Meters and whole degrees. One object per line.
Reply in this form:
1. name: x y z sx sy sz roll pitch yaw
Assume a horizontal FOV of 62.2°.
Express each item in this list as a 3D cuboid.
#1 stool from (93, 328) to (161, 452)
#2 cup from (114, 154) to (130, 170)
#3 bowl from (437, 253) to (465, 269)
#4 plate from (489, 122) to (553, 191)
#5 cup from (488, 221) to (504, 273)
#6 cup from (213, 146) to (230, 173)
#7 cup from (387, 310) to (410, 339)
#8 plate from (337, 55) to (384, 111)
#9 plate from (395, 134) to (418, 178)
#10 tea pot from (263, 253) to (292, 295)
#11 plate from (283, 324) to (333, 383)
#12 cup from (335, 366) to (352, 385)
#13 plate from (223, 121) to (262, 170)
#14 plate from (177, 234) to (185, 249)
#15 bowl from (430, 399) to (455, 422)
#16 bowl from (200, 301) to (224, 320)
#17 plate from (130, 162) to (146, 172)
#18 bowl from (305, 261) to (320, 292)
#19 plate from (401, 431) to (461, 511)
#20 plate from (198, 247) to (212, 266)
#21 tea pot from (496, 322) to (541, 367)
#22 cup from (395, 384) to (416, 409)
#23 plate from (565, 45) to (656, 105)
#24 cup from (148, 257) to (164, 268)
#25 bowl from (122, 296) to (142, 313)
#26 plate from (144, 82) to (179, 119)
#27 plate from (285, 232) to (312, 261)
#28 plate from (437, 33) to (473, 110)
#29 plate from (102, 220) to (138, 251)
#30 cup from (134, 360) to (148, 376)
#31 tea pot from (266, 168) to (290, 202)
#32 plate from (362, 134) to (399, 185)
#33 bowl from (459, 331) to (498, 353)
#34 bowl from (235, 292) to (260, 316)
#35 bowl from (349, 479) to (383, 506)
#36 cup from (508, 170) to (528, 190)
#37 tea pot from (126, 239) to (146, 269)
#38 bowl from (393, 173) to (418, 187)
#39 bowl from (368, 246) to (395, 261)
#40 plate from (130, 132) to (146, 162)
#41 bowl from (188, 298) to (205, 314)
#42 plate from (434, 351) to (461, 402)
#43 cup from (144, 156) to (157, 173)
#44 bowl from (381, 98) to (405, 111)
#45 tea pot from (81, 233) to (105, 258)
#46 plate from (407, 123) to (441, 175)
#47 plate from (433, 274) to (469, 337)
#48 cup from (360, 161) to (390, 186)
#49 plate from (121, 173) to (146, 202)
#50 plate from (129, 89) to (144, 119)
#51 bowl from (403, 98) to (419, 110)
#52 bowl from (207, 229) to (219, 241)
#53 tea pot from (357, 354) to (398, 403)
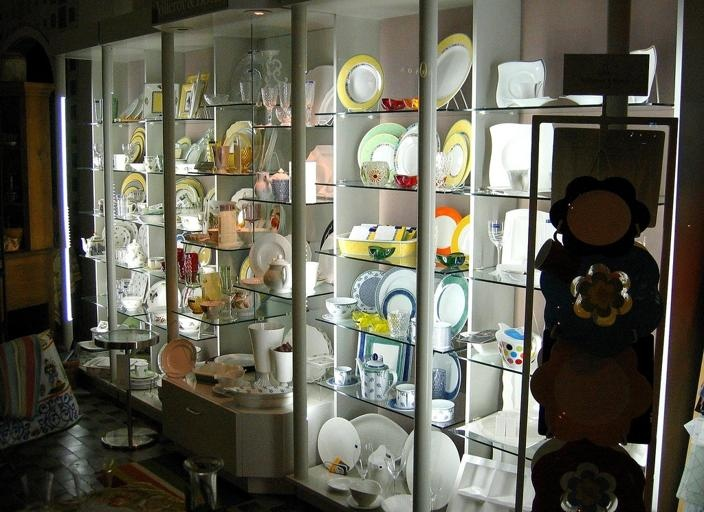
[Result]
1. stool: -1.649 0.976 4.312 0.622 0.790 0.663 -2 -2 -1
2. cup: -1.987 -0.795 5.038 0.126 0.142 0.242 2 5 -24
3. bowl: 0.510 0.022 2.997 0.081 0.059 0.096 0 0 38
4. plate: 0.811 -0.486 2.831 0.301 0.331 0.161 3 7 25
5. cup: 0.711 -0.056 2.885 0.077 0.232 0.154 1 7 14
6. cup: -0.886 -0.673 4.042 0.151 0.224 0.163 1 9 0
7. cup: 0.284 0.370 3.240 0.122 0.150 0.130 1 6 0
8. plate: 0.039 -0.982 3.387 0.291 0.321 0.049 20 17 30
9. plate: 0.312 -0.560 3.294 0.033 0.215 0.195 -5 7 -39
10. tea pot: -0.462 0.121 3.740 0.153 0.197 0.221 1 -1 -27
11. plate: -0.253 0.585 3.629 0.317 0.354 0.060 -19 -12 15
12. cup: -0.054 0.711 3.505 0.095 0.075 0.080 0 8 -16
13. plate: -0.749 -0.776 4.100 0.332 0.369 0.088 14 12 36
14. plate: -1.332 -0.119 4.536 0.108 0.121 0.027 6 10 31
15. bowl: 0.478 0.809 3.091 0.094 0.047 0.092 -1 1 0
16. bowl: -0.958 0.360 4.026 0.115 0.086 0.120 1 9 0
17. plate: -1.771 -0.737 4.859 0.118 0.056 0.124 10 12 25
18. bowl: -0.251 0.131 3.692 0.139 0.157 0.124 2 3 -3
19. plate: 0.432 1.156 3.149 0.302 0.504 0.406 0 6 5
20. plate: -1.145 0.003 4.578 0.119 0.132 0.032 -12 -12 38
21. tea pot: 0.817 0.437 2.813 0.171 0.187 0.256 -2 7 -19
22. cup: 0.299 0.774 3.243 0.086 0.090 0.120 -1 3 -9
23. plate: 0.947 -0.663 2.177 0.318 0.168 0.158 1 7 12
24. cup: -1.598 0.053 4.764 0.090 0.078 0.098 3 21 -1
25. bowl: -1.851 0.401 4.964 0.123 0.084 0.130 3 -1 0
26. plate: -1.450 -1.191 4.480 0.356 0.402 0.064 -2 -5 27
27. plate: -0.321 -0.071 3.780 0.164 0.186 0.041 -2 9 5
28. plate: 0.516 -0.956 2.991 0.137 0.359 0.270 -3 7 -26
29. plate: -1.992 -0.162 5.094 0.249 0.278 0.059 13 -8 -22
30. cup: -1.749 0.936 4.862 0.070 0.084 0.112 0 -5 1
31. tea pot: -0.451 -0.444 3.813 0.175 0.200 0.139 8 11 40
32. plate: 0.167 -0.546 3.401 0.257 0.295 0.071 -3 -11 36
33. bowl: 0.640 0.426 2.978 0.182 0.091 0.158 1 7 9
34. bowl: -0.706 0.327 3.976 0.136 0.185 0.168 -11 6 -17
35. bowl: 0.079 1.328 3.276 0.177 0.110 0.141 2 7 16
36. cup: 0.805 -0.361 2.828 0.084 0.094 0.085 0 -1 0
37. tea pot: -1.813 -0.016 4.899 0.179 0.272 0.187 -1 5 0
38. bowl: 0.294 -0.400 3.142 0.066 0.070 0.188 -5 9 -37
39. bowl: 0.156 -0.020 3.230 0.085 0.054 0.094 0 -1 44
40. plate: -1.844 -0.938 5.029 0.051 0.231 0.237 9 -38 -34
41. bowl: -1.088 0.329 4.118 0.106 0.098 0.119 -3 11 -28
42. plate: 0.516 0.656 3.208 0.221 0.262 0.062 1 3 -20
43. cup: -1.622 -0.744 4.731 0.121 0.148 0.122 0 7 0
44. bowl: 0.230 -0.834 3.226 0.143 0.072 0.054 3 7 23
45. tea pot: -2.258 -0.096 5.247 0.161 0.217 0.247 5 9 35
46. plate: 0.374 -0.577 3.106 0.203 0.272 0.424 0 7 -1
47. plate: 0.529 0.264 3.104 0.208 0.322 0.065 -3 7 -25
48. cup: 0.130 -0.458 3.280 0.132 0.122 0.136 1 6 0
49. plate: -1.888 -0.600 5.112 0.242 0.270 0.043 11 3 27
50. plate: -1.844 -1.292 5.038 0.052 0.226 0.202 11 18 -22
51. bowl: 0.322 -0.818 3.170 0.072 0.059 0.039 3 7 22
52. bowl: -0.956 -0.150 4.048 0.075 0.057 0.079 1 0 0
53. tea pot: 0.160 0.694 3.400 0.269 0.264 0.162 7 10 38
